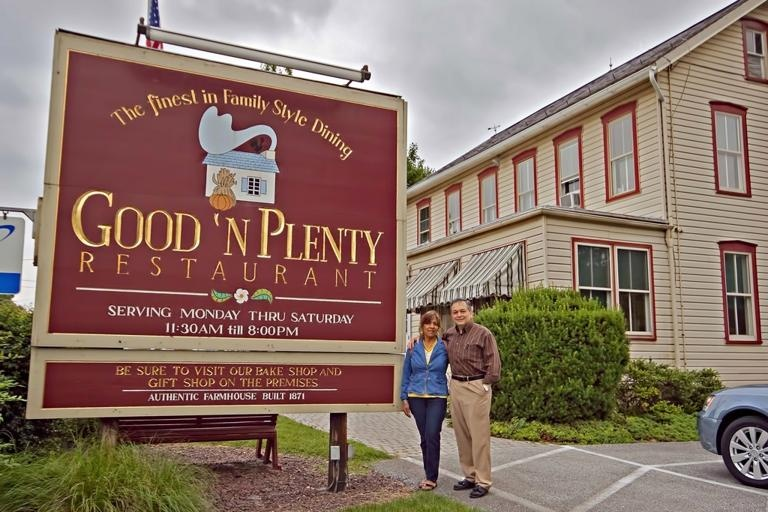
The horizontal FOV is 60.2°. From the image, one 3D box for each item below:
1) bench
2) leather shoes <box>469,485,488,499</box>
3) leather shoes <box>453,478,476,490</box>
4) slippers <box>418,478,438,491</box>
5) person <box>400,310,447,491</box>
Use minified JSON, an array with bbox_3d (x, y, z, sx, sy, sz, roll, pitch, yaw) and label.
[{"bbox_3d":[-2.893,2.906,10.396,2.759,0.880,1.432,7,-14,-27],"label":"bench"},{"bbox_3d":[1.424,3.515,9.913,0.123,0.123,0.287,-11,-22,37],"label":"leather shoes"},{"bbox_3d":[1.238,3.510,10.255,0.351,0.150,0.141,6,-9,-17],"label":"leather shoes"},{"bbox_3d":[0.672,3.471,10.123,0.276,0.142,0.373,0,-13,1],"label":"slippers"},{"bbox_3d":[0.629,2.184,10.296,0.730,2.704,0.376,-1,-11,6],"label":"person"}]
